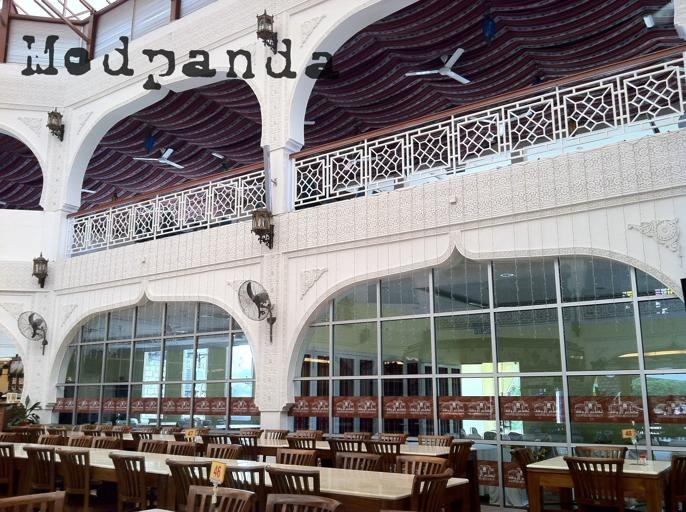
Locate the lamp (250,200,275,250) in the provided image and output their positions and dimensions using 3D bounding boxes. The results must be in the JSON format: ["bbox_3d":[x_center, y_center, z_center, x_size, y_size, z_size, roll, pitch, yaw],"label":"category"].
[{"bbox_3d":[-1.386,-0.532,11.771,0.374,0.786,0.513,-1,-15,-1],"label":"lamp"}]

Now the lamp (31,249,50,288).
[{"bbox_3d":[-6.641,0.297,14.901,0.320,0.775,0.516,5,-16,-23],"label":"lamp"}]

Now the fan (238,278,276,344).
[{"bbox_3d":[-1.489,0.935,11.394,0.332,1.033,0.679,-14,-19,38],"label":"fan"}]

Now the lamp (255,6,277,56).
[{"bbox_3d":[-1.383,-4.207,12.471,0.338,0.994,0.748,-1,-14,-4],"label":"lamp"}]

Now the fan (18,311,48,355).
[{"bbox_3d":[-6.669,1.661,14.539,0.479,0.914,0.445,-5,-15,13],"label":"fan"}]

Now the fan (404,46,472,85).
[{"bbox_3d":[1.887,-4.052,14.199,1.359,0.490,1.352,-4,-13,11],"label":"fan"}]

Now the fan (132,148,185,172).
[{"bbox_3d":[-5.091,-2.720,19.348,0.853,0.124,0.794,13,-12,-27],"label":"fan"}]

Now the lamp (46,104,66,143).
[{"bbox_3d":[-6.619,-3.086,15.608,0.438,0.657,0.355,6,0,-32],"label":"lamp"}]
